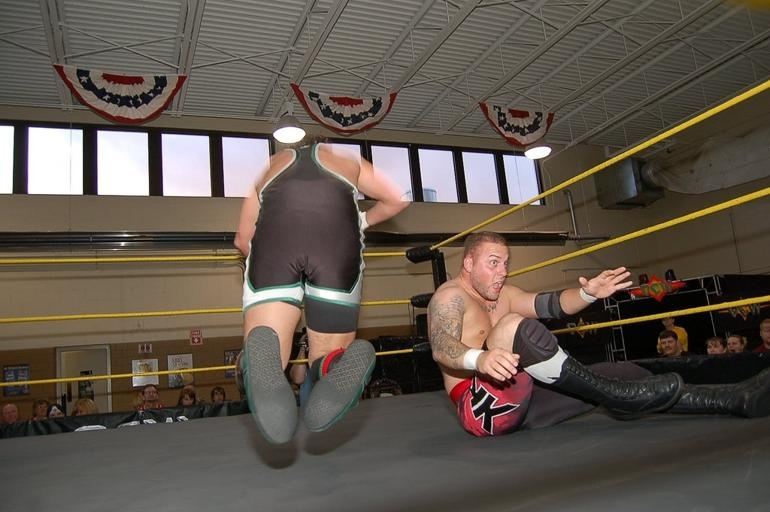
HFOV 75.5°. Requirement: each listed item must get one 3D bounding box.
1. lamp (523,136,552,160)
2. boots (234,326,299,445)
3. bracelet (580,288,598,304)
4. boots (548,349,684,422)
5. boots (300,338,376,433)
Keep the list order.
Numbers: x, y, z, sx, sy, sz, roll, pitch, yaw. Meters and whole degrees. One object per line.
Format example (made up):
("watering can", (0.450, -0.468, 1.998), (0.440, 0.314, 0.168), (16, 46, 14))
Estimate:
("lamp", (2.270, -1.628, 7.441), (0.307, 0.237, 0.310), (-7, -3, 26))
("boots", (-0.486, 0.514, 2.193), (0.195, 0.554, 0.225), (-7, -37, -27))
("bracelet", (1.037, 0.206, 2.578), (0.080, 0.044, 0.079), (37, 12, -13))
("boots", (0.951, 0.565, 2.394), (0.770, 0.336, 0.257), (-9, 25, 16))
("boots", (-0.210, 0.562, 2.266), (0.332, 0.345, 0.384), (-5, -3, -5))
